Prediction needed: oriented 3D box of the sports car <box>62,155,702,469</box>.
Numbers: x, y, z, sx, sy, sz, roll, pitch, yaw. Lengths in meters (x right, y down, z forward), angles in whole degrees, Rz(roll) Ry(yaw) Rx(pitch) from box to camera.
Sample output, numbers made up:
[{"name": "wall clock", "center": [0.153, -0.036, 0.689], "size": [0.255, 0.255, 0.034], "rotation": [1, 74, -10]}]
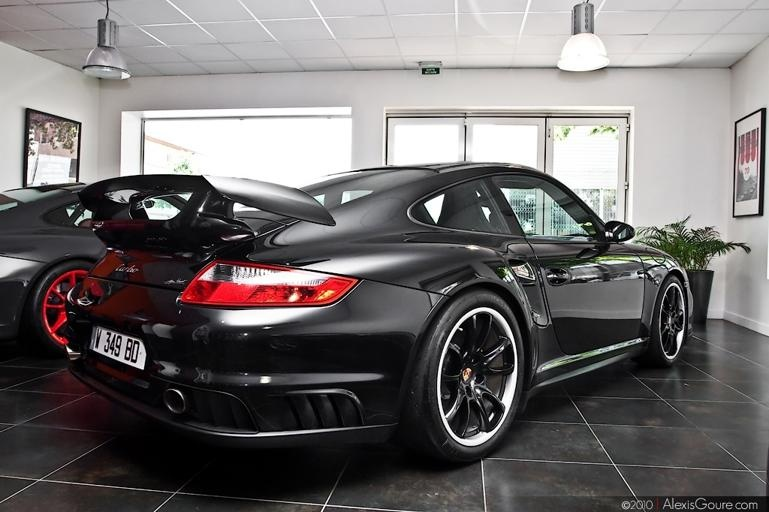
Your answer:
[{"name": "sports car", "center": [0.466, 0.146, 3.554], "size": [2.649, 1.126, 4.647], "rotation": [4, 3, 43]}]

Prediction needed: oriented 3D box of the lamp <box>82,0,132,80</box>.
[{"name": "lamp", "center": [-3.240, -2.513, 5.060], "size": [0.417, 0.930, 0.927], "rotation": [-2, 6, -32]}]

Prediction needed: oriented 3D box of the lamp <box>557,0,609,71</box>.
[{"name": "lamp", "center": [2.038, -2.323, 4.487], "size": [0.438, 0.805, 0.597], "rotation": [2, 5, 12]}]
